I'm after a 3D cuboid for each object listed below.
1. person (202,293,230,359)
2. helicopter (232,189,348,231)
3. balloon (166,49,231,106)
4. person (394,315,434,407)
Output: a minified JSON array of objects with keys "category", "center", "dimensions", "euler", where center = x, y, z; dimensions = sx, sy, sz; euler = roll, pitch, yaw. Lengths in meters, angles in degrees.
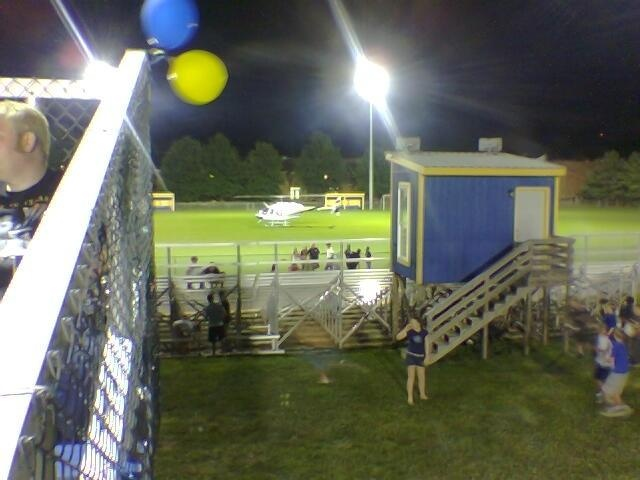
[{"category":"person","center":[-2.616,2.106,14.293],"dimensions":[0.471,1.495,0.391],"euler":[-5,13,-16]},{"category":"helicopter","center":[-4.083,-3.816,69.913],"dimensions":[9.786,3.803,8.829],"euler":[0,10,-7]},{"category":"balloon","center":[-0.920,-1.215,4.251],"dimensions":[0.434,0.358,0.317],"euler":[-3,6,-14]},{"category":"person","center":[1.788,2.310,10.959],"dimensions":[0.600,1.647,0.435],"euler":[-1,2,-18]}]
